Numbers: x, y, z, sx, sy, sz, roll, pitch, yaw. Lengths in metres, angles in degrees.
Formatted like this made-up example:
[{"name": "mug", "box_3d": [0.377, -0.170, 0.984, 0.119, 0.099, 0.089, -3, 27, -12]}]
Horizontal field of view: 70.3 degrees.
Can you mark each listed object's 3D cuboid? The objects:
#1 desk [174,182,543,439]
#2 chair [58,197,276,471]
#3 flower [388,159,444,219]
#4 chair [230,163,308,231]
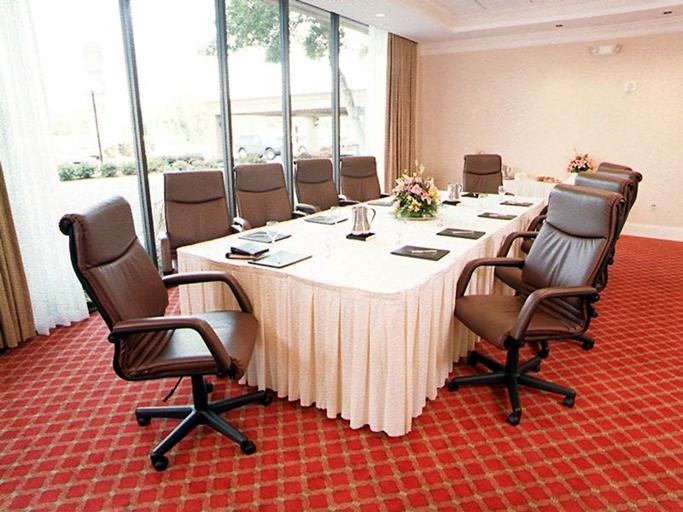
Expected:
[{"name": "desk", "box_3d": [0.579, 0.266, 3.731, 1.385, 0.523, 2.491, 10, 17, 35]}, {"name": "chair", "box_3d": [-0.993, 0.439, 2.954, 0.992, 1.526, 0.786, -2, 20, -2]}, {"name": "flower", "box_3d": [0.689, -0.631, 4.799, 0.657, 0.565, 0.567, 5, 11, 41]}, {"name": "chair", "box_3d": [-0.681, -0.417, 4.850, 0.834, 0.834, 0.745, -4, 34, -14]}]
